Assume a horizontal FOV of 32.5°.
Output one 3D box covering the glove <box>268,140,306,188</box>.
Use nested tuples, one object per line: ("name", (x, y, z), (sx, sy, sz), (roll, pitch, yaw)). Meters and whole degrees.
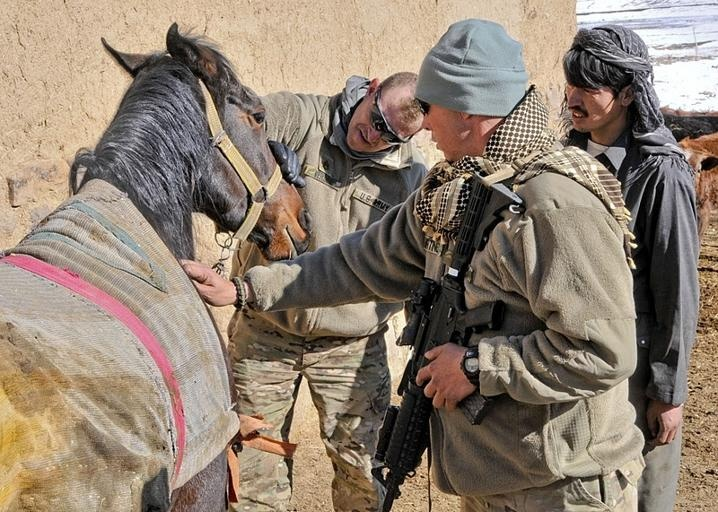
("glove", (-0.269, -0.355, 4.922), (0.070, 0.171, 0.175), (-31, -38, 10))

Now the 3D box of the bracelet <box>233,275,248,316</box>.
("bracelet", (-0.474, 0.164, 4.939), (0.044, 0.112, 0.096), (-3, 12, -9))

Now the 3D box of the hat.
("hat", (0.407, -0.707, 4.646), (0.431, 0.292, 0.293), (-1, 30, 0))

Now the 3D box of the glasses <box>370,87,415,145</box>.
("glasses", (0.162, -0.597, 5.334), (0.073, 0.211, 0.210), (-22, 34, 15))

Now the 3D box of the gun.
("gun", (0.356, 0.309, 4.677), (0.176, 1.471, 0.554), (10, 7, -41))
